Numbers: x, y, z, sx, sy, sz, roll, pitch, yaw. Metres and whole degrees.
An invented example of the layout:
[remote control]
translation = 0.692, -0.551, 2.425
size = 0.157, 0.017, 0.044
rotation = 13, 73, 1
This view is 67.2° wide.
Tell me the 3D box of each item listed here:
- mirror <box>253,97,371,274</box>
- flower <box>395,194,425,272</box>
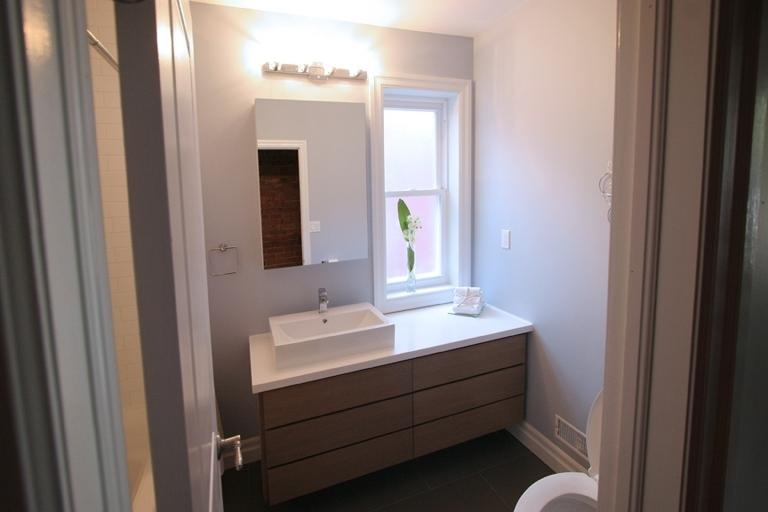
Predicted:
[mirror]
translation = -0.368, -0.337, 2.675
size = 0.540, 0.802, 0.025
rotation = -3, -14, -1
[flower]
translation = 0.135, -0.117, 3.165
size = 0.114, 0.417, 0.188
rotation = -3, 11, 12
